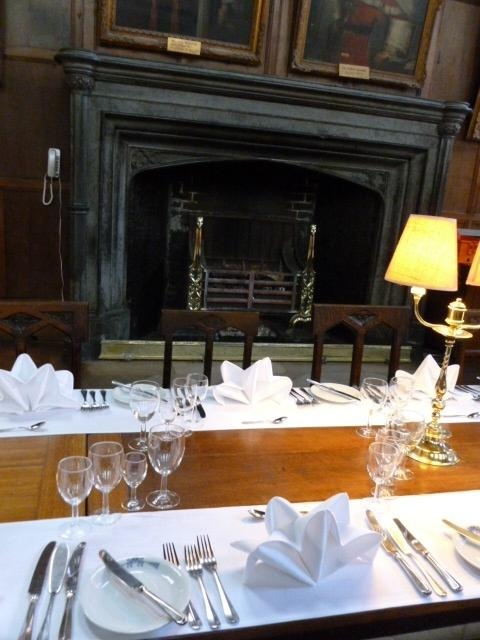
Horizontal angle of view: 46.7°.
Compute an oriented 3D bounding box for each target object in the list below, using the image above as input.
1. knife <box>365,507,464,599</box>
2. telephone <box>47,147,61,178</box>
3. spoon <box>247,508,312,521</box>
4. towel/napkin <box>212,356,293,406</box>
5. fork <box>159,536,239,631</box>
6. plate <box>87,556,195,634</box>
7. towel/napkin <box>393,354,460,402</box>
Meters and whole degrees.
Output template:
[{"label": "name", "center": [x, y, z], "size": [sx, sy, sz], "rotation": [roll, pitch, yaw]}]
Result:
[{"label": "knife", "center": [0.263, 0.346, 0.867], "size": [0.045, 0.015, 0.194], "rotation": [-1, 11, -7]}, {"label": "telephone", "center": [-1.083, -0.918, 3.249], "size": [0.066, 0.169, 0.088], "rotation": [-1, 12, -22]}, {"label": "spoon", "center": [0.059, 0.300, 0.862], "size": [0.115, 0.018, 0.028], "rotation": [-13, -43, 37]}, {"label": "towel/napkin", "center": [0.027, 0.189, 1.766], "size": [0.194, 0.091, 0.212], "rotation": [1, 15, -4]}, {"label": "fork", "center": [-0.057, 0.341, 0.768], "size": [0.043, 0.019, 0.163], "rotation": [-2, 18, -12]}, {"label": "plate", "center": [-0.133, 0.349, 0.712], "size": [0.133, 0.031, 0.123], "rotation": [1, 12, -18]}, {"label": "towel/napkin", "center": [0.497, 0.138, 1.556], "size": [0.176, 0.083, 0.139], "rotation": [-1, 4, -32]}]
